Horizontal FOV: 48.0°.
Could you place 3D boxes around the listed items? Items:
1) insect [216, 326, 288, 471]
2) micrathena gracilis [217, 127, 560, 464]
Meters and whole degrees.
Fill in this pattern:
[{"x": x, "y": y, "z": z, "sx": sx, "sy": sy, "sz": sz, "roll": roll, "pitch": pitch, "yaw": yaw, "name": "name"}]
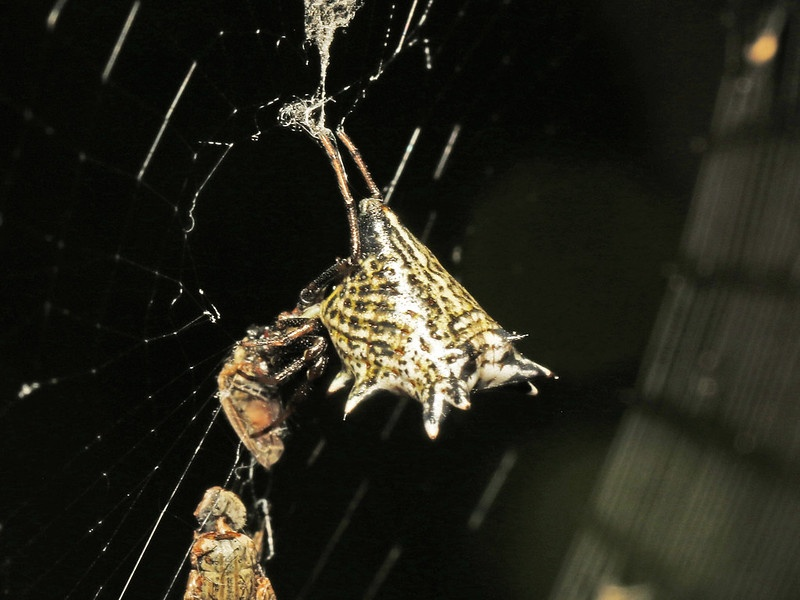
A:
[{"x": -0.218, "y": 0.156, "z": 1.348, "sx": 0.049, "sy": 0.121, "sz": 0.185, "roll": -6, "pitch": -80, "yaw": 37, "name": "insect"}, {"x": -0.085, "y": 0.016, "z": 1.270, "sx": 0.460, "sy": 0.232, "sz": 0.408, "roll": -24, "pitch": -76, "yaw": 5, "name": "micrathena gracilis"}]
